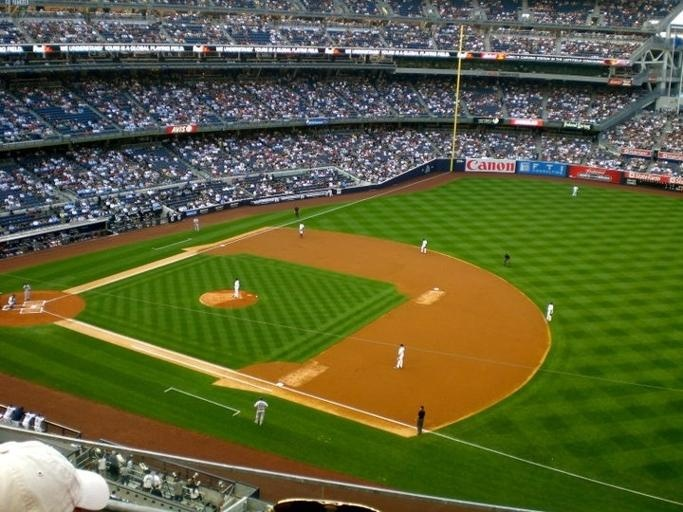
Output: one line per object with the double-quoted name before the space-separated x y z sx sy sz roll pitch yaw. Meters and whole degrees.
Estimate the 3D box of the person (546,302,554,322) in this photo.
"person" 11.454 2.935 38.517 0.423 1.016 1.379 4 17 16
